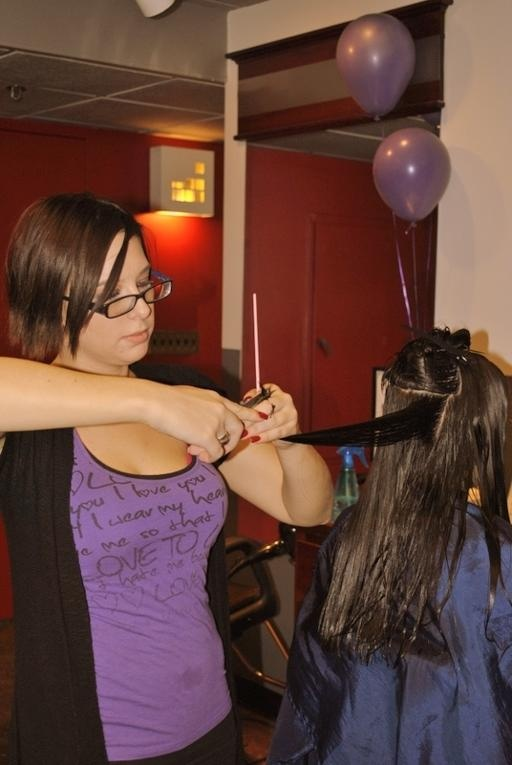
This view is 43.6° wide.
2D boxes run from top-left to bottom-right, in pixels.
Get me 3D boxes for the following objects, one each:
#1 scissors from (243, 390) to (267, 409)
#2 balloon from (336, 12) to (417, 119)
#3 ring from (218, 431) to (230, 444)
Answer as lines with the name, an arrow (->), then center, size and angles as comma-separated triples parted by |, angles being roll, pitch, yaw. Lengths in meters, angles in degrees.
scissors -> 0.000, 0.025, 0.952 | 0.030, 0.011, 0.009 | -46, 19, -15
balloon -> 0.427, -1.135, 2.258 | 0.327, 0.400, 0.325 | -5, 43, 10
ring -> -0.039, 0.067, 0.783 | 0.011, 0.011, 0.014 | -6, 51, 2
